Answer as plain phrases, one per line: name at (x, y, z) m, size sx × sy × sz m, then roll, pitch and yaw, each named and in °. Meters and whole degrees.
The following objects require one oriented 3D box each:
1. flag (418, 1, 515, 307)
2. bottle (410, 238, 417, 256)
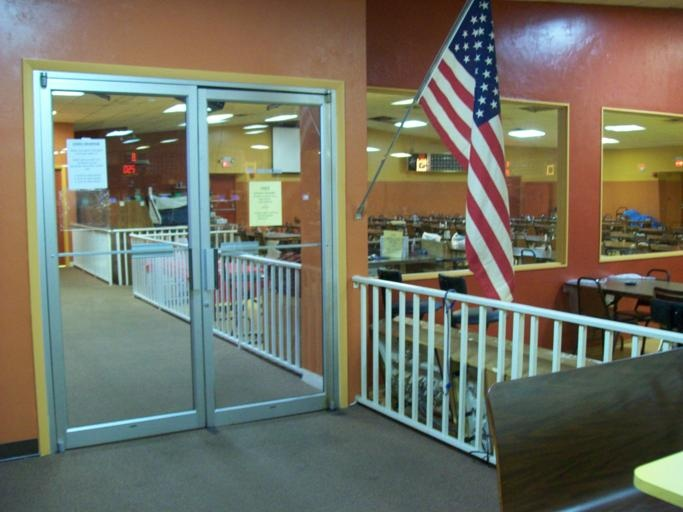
flag at (0.941, -0.778, 4.466) m, size 0.414 × 2.044 × 0.800 m, roll -4°, pitch 13°, yaw -15°
bottle at (0.760, -0.087, 6.381) m, size 0.132 × 0.186 × 0.025 m, roll -11°, pitch 16°, yaw -37°
